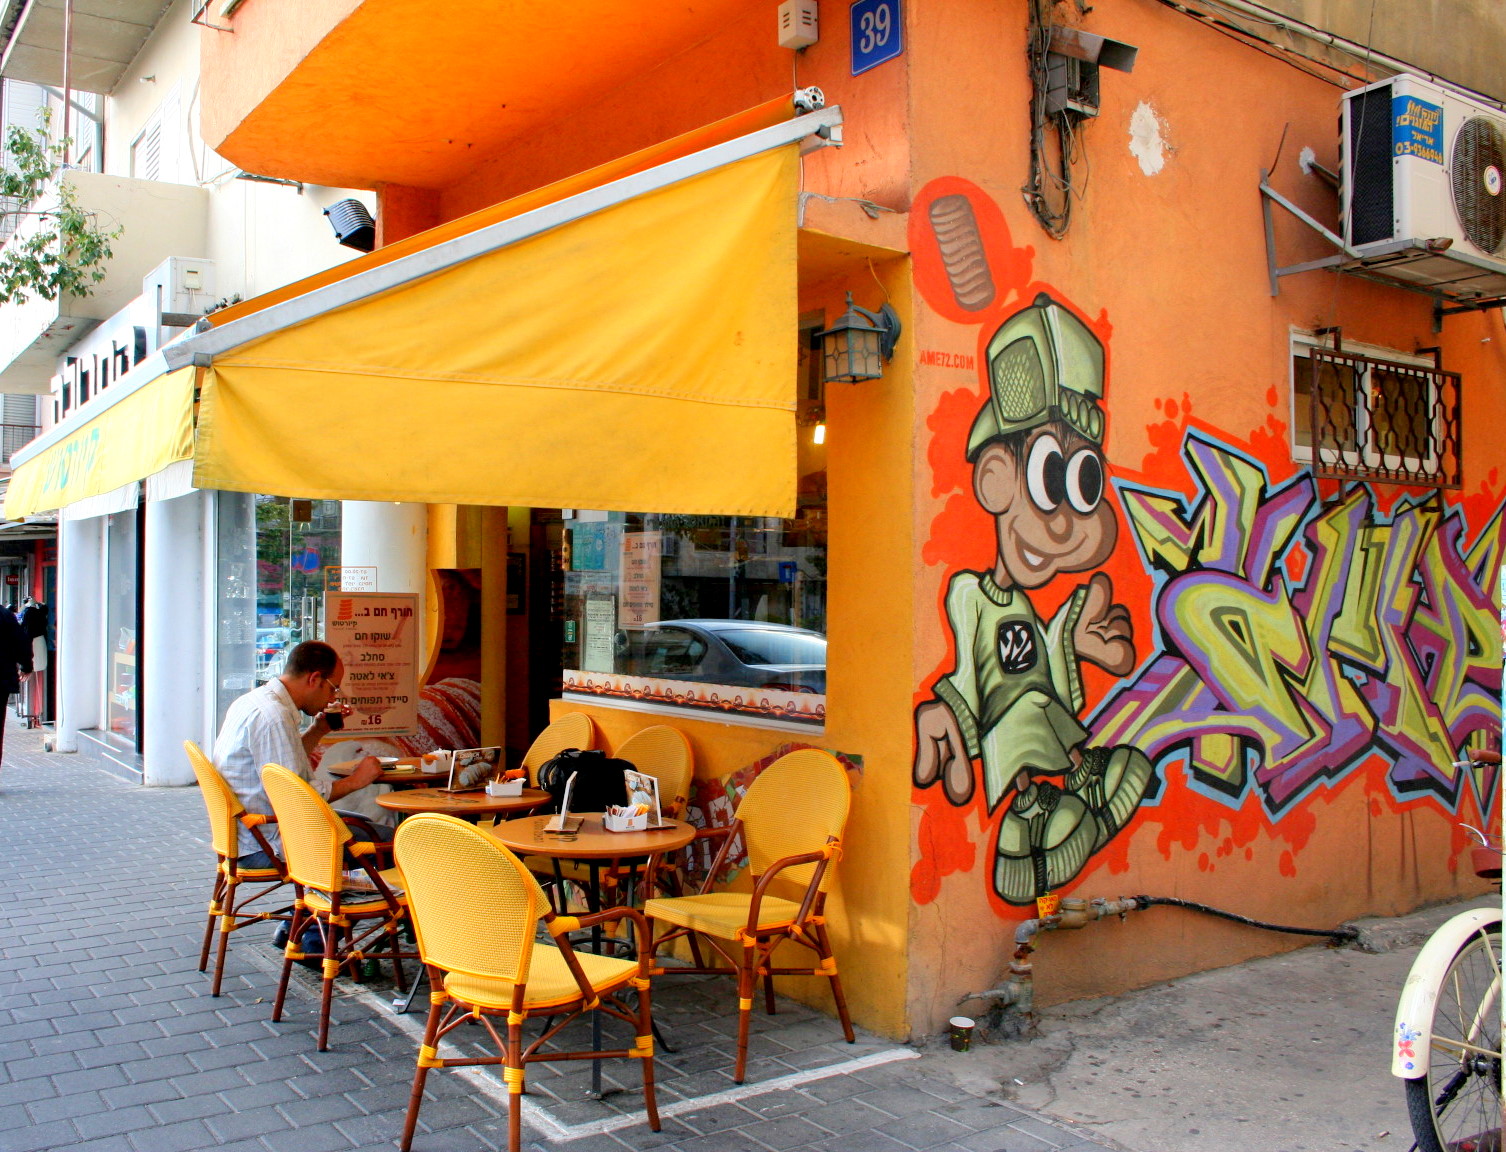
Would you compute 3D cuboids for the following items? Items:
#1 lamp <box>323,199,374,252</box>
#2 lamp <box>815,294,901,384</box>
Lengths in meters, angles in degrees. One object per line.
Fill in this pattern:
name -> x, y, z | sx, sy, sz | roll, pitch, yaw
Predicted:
lamp -> -3.184, -2.788, 11.785 | 0.345, 0.407, 0.902 | -1, 11, -14
lamp -> 0.574, -1.275, 8.221 | 0.447, 0.584, 0.410 | 4, -4, -32
